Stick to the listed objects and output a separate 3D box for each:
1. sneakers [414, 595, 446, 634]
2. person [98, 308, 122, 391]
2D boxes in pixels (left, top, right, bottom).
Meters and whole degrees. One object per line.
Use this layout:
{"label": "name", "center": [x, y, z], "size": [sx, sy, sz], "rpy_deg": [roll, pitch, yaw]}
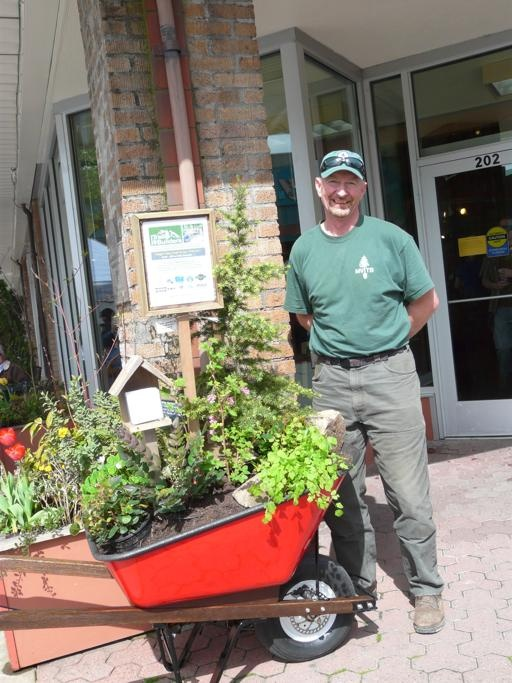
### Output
{"label": "sneakers", "center": [0.646, 1.024, 2.062], "size": [0.115, 0.135, 0.110], "rpy_deg": [-9, 0, 13]}
{"label": "person", "center": [-1.284, 0.048, 4.781], "size": [0.182, 0.727, 0.715], "rpy_deg": [-10, 1, -16]}
